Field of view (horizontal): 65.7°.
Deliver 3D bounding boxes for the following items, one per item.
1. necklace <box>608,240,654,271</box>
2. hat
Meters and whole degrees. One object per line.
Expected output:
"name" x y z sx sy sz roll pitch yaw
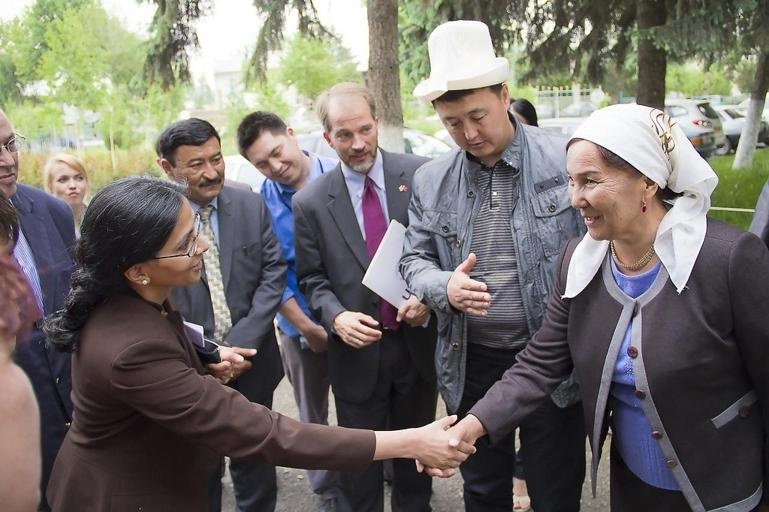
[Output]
"necklace" 1.215 0.001 3.004 0.147 0.145 0.036 -34 -9 34
"hat" 0.496 -1.317 3.791 0.551 0.392 0.709 0 21 11
